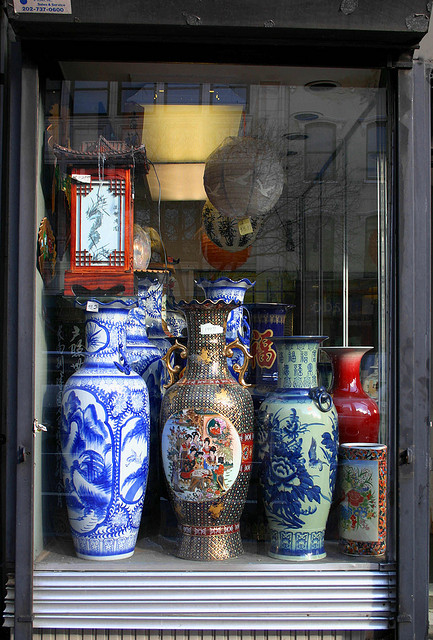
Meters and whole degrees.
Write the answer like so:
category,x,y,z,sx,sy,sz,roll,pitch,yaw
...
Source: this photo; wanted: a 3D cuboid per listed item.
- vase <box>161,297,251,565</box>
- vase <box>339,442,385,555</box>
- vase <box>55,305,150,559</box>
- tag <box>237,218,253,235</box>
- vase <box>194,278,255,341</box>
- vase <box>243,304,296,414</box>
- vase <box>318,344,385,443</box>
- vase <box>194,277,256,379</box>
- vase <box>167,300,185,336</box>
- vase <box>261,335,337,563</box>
category,x,y,z,sx,sy,sz,roll,pitch,yaw
vase,-0.029,0.309,2.913,0.263,0.728,0.258,1,2,-1
vase,0.438,0.530,2.990,0.155,0.310,0.153,1,-2,19
vase,-0.332,0.314,2.912,0.273,0.714,0.166,0,2,-11
tag,0.097,-0.304,3.282,0.038,0.056,0.005,-12,-13,2
vase,0.036,-0.026,3.180,0.158,0.201,0.165,-4,-4,35
vase,0.164,0.148,3.172,0.144,0.390,0.164,-2,-6,33
vase,0.403,0.252,3.076,0.163,0.328,0.170,8,-15,-28
vase,0.009,0.046,3.193,0.175,0.400,0.209,4,-5,-22
vase,-0.129,-0.002,3.196,0.079,0.117,0.087,-1,2,0
vase,0.240,0.363,2.926,0.215,0.627,0.174,1,2,3
